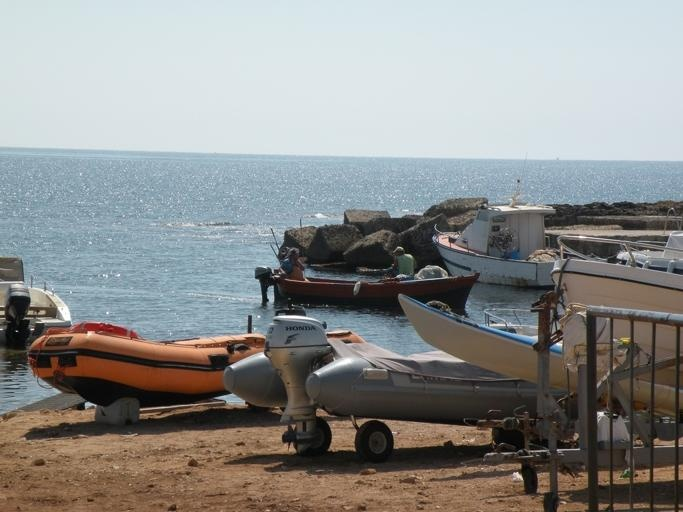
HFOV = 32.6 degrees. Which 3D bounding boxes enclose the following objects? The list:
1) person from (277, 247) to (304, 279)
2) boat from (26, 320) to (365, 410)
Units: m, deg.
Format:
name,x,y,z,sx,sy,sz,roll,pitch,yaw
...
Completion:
name,x,y,z,sx,sy,sz,roll,pitch,yaw
person,-1.429,0.267,33.011,0.670,0.987,0.992,0,9,0
boat,-3.434,2.010,22.237,4.469,0.976,2.446,-1,1,-28
